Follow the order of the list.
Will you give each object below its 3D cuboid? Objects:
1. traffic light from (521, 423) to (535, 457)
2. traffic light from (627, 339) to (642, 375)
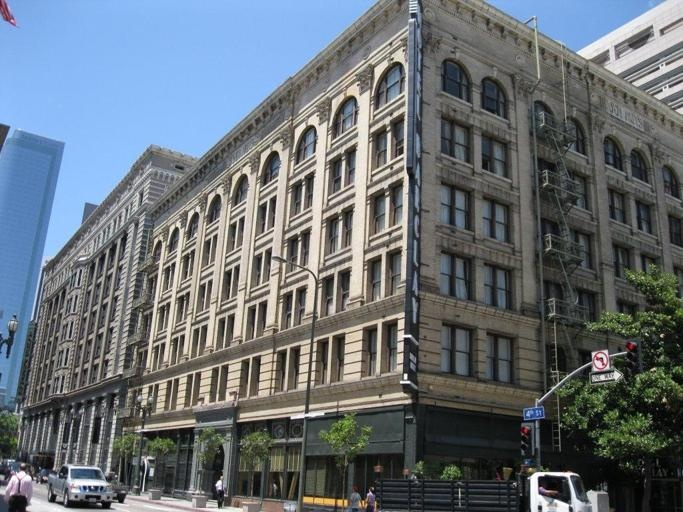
[{"bbox_3d":[8.407,8.333,27.022,0.543,1.502,0.468,-6,-26,16],"label":"traffic light"},{"bbox_3d":[12.206,4.106,24.938,0.600,1.343,0.541,-11,-27,24],"label":"traffic light"}]
